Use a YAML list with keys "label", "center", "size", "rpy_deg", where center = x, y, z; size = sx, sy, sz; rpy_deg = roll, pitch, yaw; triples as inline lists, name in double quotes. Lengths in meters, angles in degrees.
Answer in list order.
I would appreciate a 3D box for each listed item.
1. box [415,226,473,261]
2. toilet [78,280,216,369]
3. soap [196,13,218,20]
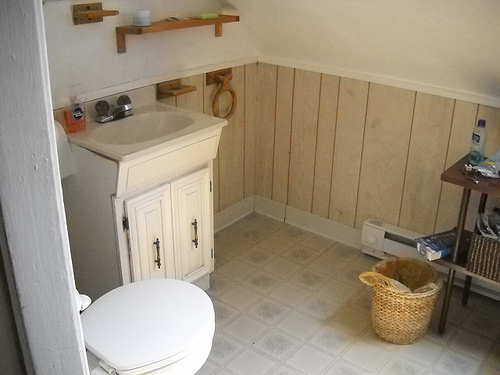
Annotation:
- label: "box"
  center: [1.004, 0.281, 1.988]
  size: [0.273, 0.061, 0.151]
  rpy_deg: [-13, 26, 0]
- label: "toilet"
  center: [-0.388, 0.559, 1.539]
  size: [0.479, 0.185, 0.407]
  rpy_deg: [-12, 29, -23]
- label: "soap"
  center: [-0.240, -0.989, 2.247]
  size: [0.135, 0.024, 0.059]
  rpy_deg: [-21, 33, -36]
